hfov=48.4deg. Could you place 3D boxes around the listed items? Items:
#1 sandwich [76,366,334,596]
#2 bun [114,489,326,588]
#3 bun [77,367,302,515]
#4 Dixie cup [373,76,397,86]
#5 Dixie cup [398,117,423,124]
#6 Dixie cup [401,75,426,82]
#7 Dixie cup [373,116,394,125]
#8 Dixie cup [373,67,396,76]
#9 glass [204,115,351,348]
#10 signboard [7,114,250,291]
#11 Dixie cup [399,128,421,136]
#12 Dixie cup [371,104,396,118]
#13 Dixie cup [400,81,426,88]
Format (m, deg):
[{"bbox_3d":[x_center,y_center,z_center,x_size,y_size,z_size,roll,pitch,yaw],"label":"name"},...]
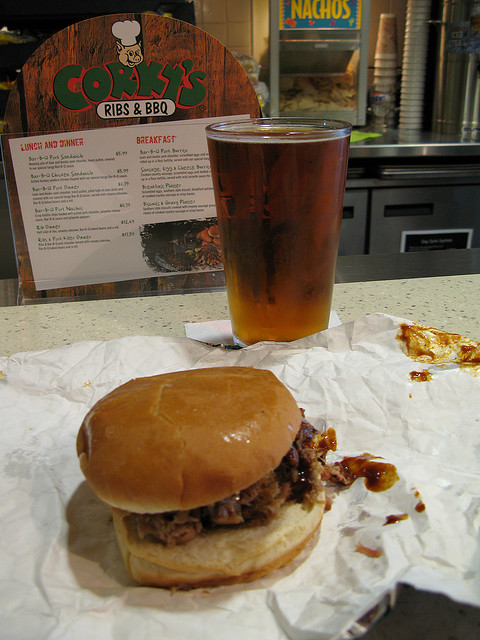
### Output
[{"bbox_3d":[-0.031,0.136,0.539,0.238,0.127,0.226,-6,23,-12],"label":"sandwich"},{"bbox_3d":[-0.017,0.187,0.558,0.220,0.054,0.194,-1,24,-4],"label":"bun"},{"bbox_3d":[-0.042,0.092,0.530,0.221,0.063,0.211,10,29,37],"label":"bun"},{"bbox_3d":[0.734,-1.214,2.705,0.107,0.050,0.122,3,21,13],"label":"Dixie cup"},{"bbox_3d":[0.829,-0.972,2.595,0.103,0.032,0.075,3,21,12],"label":"Dixie cup"},{"bbox_3d":[0.811,-1.140,2.511,0.106,0.038,0.076,7,22,23],"label":"Dixie cup"},{"bbox_3d":[0.742,-1.012,2.752,0.079,0.068,0.075,-2,19,1],"label":"Dixie cup"},{"bbox_3d":[0.718,-1.240,2.657,0.101,0.043,0.091,5,21,17],"label":"Dixie cup"},{"bbox_3d":[0.051,-0.109,0.688,0.176,0.257,0.173,-2,19,0],"label":"glass"},{"bbox_3d":[-0.179,-0.190,0.812,0.333,0.196,0.003,-5,27,-2],"label":"signboard"},{"bbox_3d":[0.814,-0.909,2.562,0.094,0.030,0.118,3,20,13],"label":"Dixie cup"},{"bbox_3d":[0.726,-1.065,2.709,0.106,0.065,0.061,-1,21,1],"label":"Dixie cup"},{"bbox_3d":[0.813,-1.125,2.542,0.122,0.033,0.093,11,23,31],"label":"Dixie cup"}]
